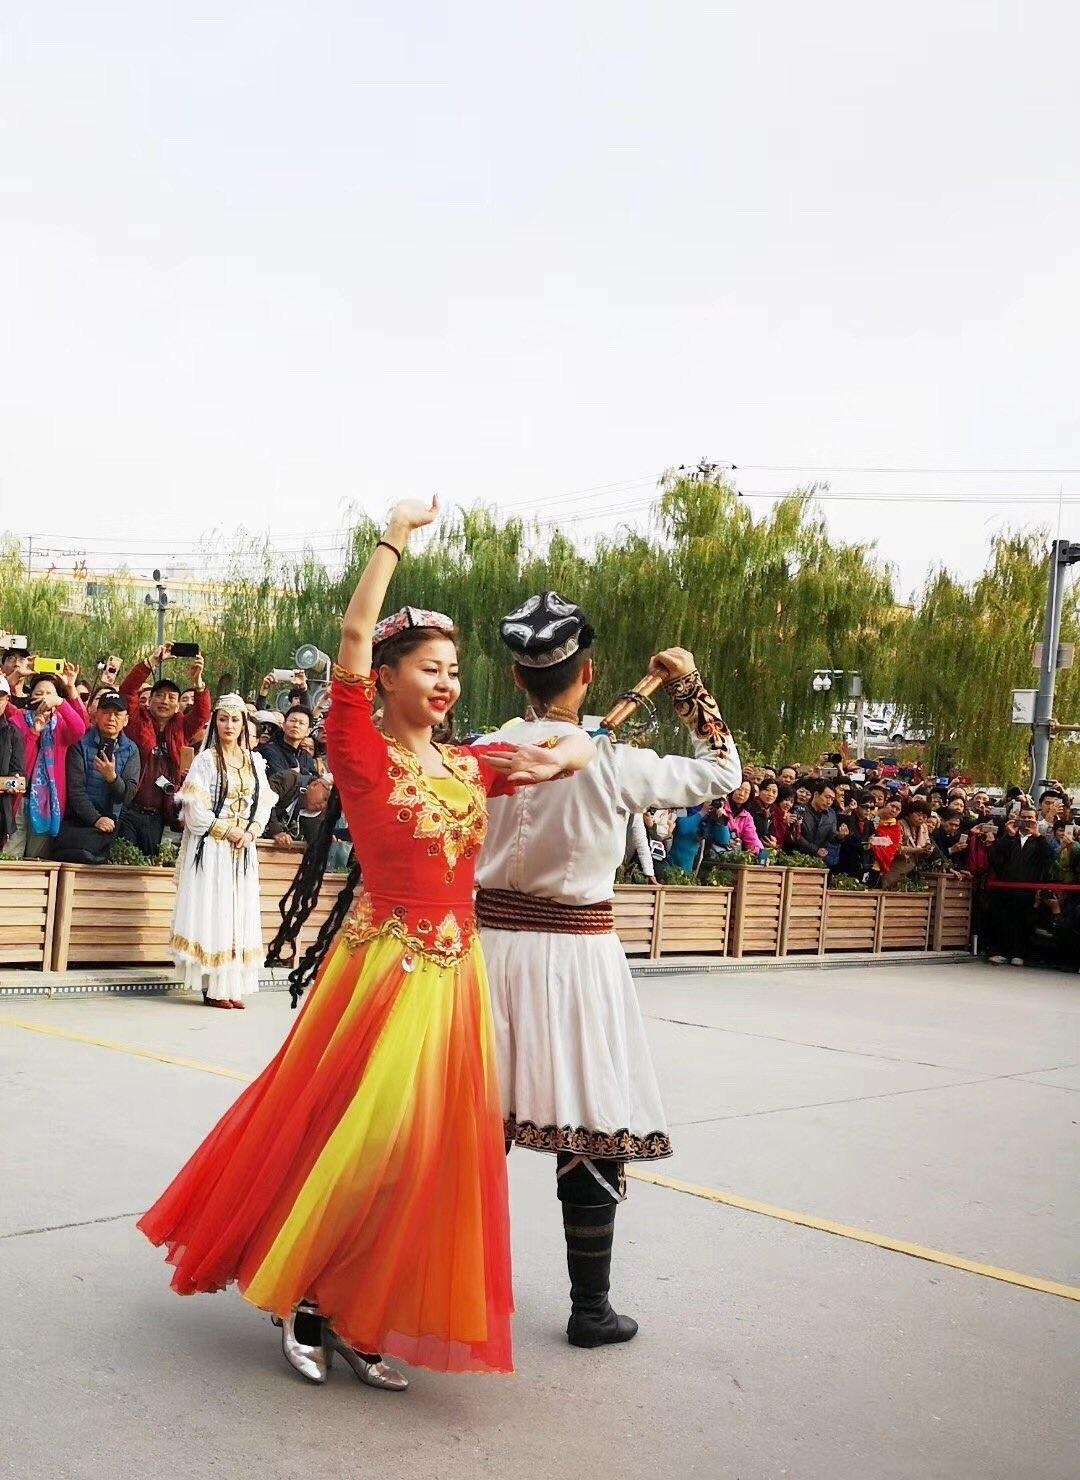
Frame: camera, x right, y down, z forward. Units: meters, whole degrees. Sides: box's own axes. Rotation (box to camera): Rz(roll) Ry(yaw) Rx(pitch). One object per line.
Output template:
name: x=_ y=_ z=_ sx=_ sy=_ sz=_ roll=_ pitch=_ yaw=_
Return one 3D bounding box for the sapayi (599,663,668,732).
sapayi: x=0.221 y=-0.117 z=2.592 sx=0.062 sy=0.068 sz=0.370 roll=19 pitch=26 yaw=15

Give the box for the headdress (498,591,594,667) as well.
headdress: x=0.025 y=-0.266 z=2.533 sx=0.146 sy=0.075 sz=0.188 roll=-9 pitch=26 yaw=12

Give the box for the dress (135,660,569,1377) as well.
dress: x=-0.335 y=0.489 z=2.213 sx=0.624 sy=1.205 sz=0.487 roll=5 pitch=-6 yaw=-11
